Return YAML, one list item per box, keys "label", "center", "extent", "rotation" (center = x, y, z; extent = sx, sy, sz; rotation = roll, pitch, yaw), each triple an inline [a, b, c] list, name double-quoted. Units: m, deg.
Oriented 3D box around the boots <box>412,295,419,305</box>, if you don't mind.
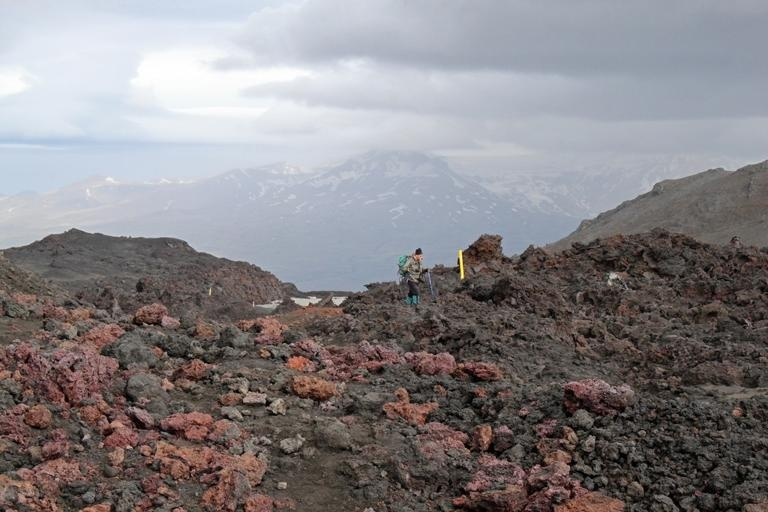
- label: "boots"
  center: [1.128, 1.574, 22.484]
  extent: [0.257, 0.290, 0.133]
  rotation: [-3, -10, 11]
